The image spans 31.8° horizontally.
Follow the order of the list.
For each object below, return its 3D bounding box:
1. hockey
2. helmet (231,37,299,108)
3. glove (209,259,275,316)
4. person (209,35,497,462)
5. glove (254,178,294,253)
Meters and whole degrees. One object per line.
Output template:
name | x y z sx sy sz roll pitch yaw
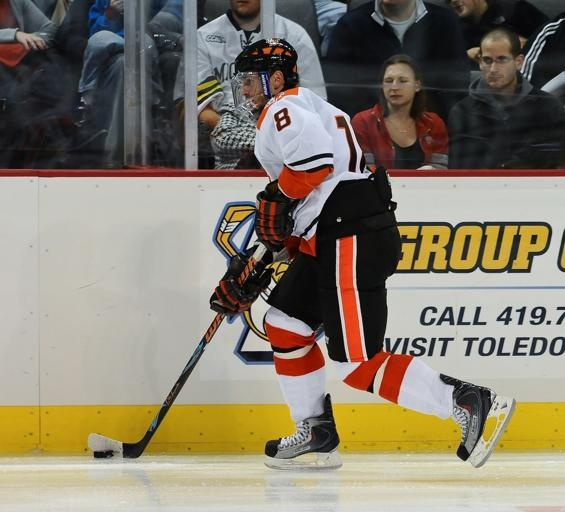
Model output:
hockey | -0.478 0.399 4.335 0.247 0.977 0.179 37 4 38
helmet | -0.105 -0.731 3.994 0.306 0.267 0.240 -21 22 -36
glove | -0.157 0.143 4.101 0.196 0.239 0.117 35 3 18
person | 0.218 0.017 3.832 1.099 1.723 0.391 4 7 32
glove | -0.036 -0.145 3.818 0.131 0.163 0.229 10 46 -9
